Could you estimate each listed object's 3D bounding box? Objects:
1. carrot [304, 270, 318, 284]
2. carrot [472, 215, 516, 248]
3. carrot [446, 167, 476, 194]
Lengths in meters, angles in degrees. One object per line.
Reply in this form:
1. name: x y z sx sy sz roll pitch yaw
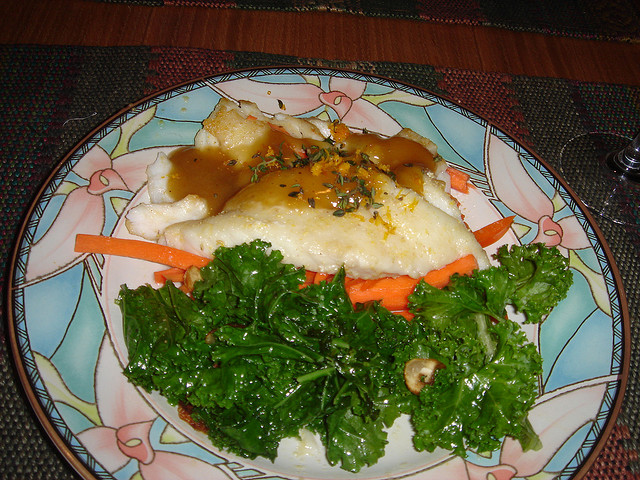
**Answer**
1. carrot: -0.064 0.261 3.912 0.075 0.091 0.090 4 73 -6
2. carrot: 1.331 -0.072 4.175 0.359 0.073 0.139 -27 78 -14
3. carrot: 1.090 -0.455 4.349 0.252 0.068 0.144 22 77 -4
